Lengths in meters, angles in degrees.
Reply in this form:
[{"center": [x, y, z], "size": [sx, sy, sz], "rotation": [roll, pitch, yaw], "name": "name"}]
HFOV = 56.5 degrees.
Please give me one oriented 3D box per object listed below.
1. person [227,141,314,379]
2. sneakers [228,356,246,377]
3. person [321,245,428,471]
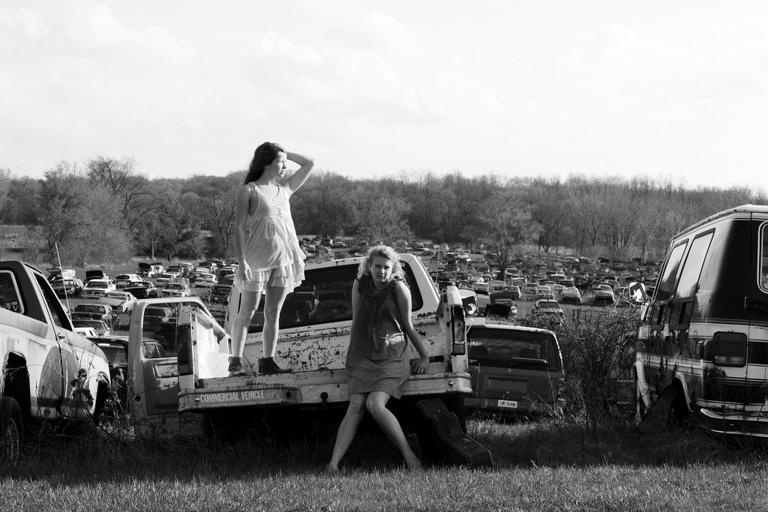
[{"center": [-1.280, 0.016, 8.035], "size": [0.832, 2.497, 0.611], "rotation": [3, -1, -24], "name": "person"}, {"center": [-1.587, 1.198, 7.758], "size": [0.160, 0.207, 0.375], "rotation": [3, -1, -15], "name": "sneakers"}, {"center": [-0.048, 1.054, 7.533], "size": [0.961, 2.141, 0.617], "rotation": [3, -1, -5], "name": "person"}]
